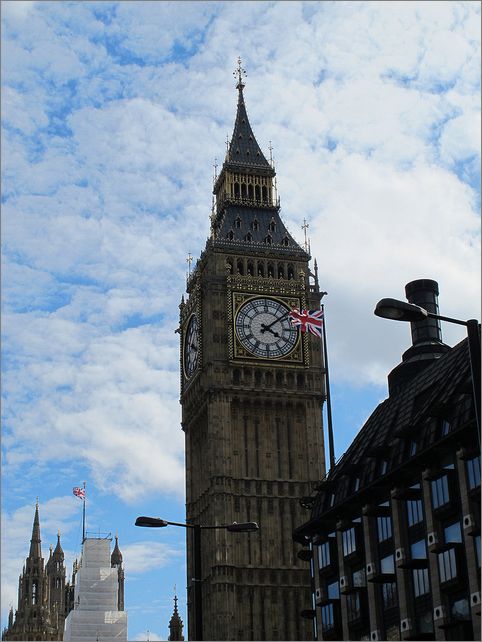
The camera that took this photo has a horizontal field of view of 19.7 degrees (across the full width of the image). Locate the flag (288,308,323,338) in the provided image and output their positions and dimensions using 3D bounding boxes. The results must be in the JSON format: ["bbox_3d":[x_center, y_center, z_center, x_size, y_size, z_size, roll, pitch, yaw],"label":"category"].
[{"bbox_3d":[5.811,0.088,124.734,3.105,2.893,0.625,10,-56,0],"label":"flag"}]
